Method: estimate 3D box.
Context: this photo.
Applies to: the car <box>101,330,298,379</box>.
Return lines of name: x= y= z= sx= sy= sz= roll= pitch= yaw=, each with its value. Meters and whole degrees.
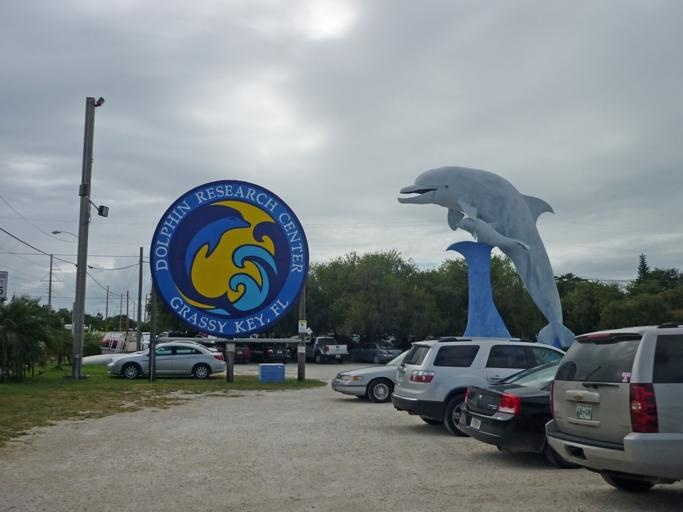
car: x=-7.355 y=4.423 z=25.561 sx=5.065 sy=1.708 sz=3.663 roll=0 pitch=-4 yaw=-18

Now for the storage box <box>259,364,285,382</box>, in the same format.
storage box: x=-2.818 y=4.714 z=24.059 sx=0.720 sy=0.485 sz=0.762 roll=0 pitch=-6 yaw=-6
